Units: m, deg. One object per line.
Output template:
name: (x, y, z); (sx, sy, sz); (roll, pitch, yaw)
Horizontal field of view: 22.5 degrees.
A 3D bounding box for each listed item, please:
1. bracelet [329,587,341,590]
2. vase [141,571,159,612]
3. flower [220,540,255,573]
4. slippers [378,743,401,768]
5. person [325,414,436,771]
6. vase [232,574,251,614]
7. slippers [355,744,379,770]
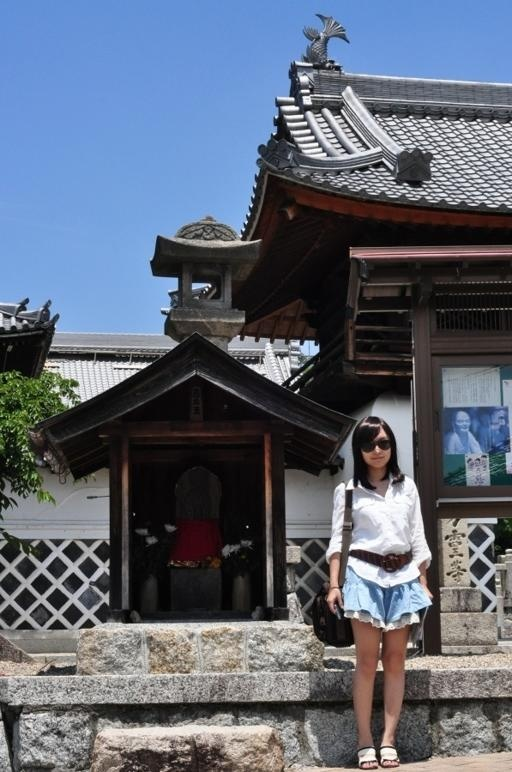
bracelet: (0.396, 1.019, 6.439); (0.057, 0.019, 0.060); (0, -7, 0)
vase: (-0.674, 1.310, 8.122); (0.106, 0.233, 0.126); (1, -7, -5)
flower: (-0.118, 1.111, 8.287); (0.199, 0.216, 0.172); (0, -7, 0)
slippers: (0.653, 1.846, 6.383); (0.134, 0.115, 0.277); (0, -14, -1)
person: (0.616, 1.029, 6.509); (0.516, 1.755, 0.319); (-1, -7, 6)
vase: (-0.103, 1.314, 8.150); (0.123, 0.222, 0.193); (-1, -7, 6)
slippers: (0.550, 1.846, 6.369); (0.130, 0.109, 0.364); (0, -15, -1)
